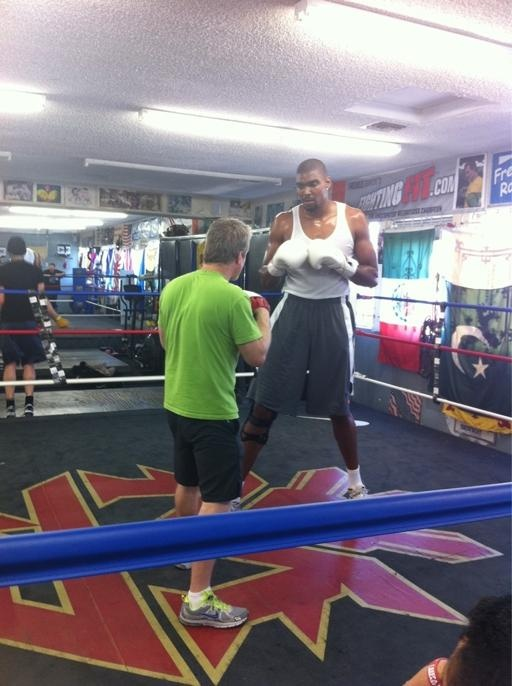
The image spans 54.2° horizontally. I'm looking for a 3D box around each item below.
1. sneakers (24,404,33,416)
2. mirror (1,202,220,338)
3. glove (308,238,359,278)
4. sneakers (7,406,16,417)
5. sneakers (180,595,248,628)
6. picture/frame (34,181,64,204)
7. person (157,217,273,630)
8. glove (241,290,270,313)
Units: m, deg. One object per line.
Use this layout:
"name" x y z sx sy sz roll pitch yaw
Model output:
"sneakers" -1.940 0.581 4.297 0.050 0.060 0.145 1 6 -12
"mirror" -2.298 -1.197 7.626 3.442 1.523 1.800 -2 4 -28
"glove" 0.373 -0.387 2.326 0.276 0.163 0.142 0 5 -34
"sneakers" -2.066 0.588 4.255 0.056 0.064 0.166 2 4 -14
"sneakers" -0.139 0.909 1.672 0.253 0.123 0.103 1 -8 -6
"picture/frame" -2.912 -2.103 6.989 0.354 0.271 0.014 0 -5 -19
"person" -0.150 0.116 1.748 0.299 1.100 0.406 -1 6 -43
"glove" 0.005 -0.162 1.809 0.067 0.085 0.091 3 -27 0
